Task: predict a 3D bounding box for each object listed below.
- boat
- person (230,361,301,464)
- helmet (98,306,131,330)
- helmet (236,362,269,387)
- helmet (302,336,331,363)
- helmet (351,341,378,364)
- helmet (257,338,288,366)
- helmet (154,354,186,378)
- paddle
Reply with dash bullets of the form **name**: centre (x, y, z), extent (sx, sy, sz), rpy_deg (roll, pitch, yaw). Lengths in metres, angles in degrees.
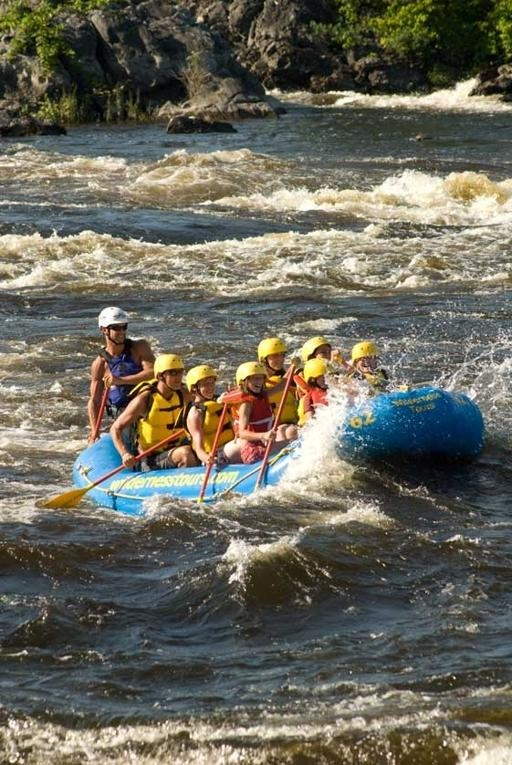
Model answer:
- **boat**: centre (0.278, 0.575, 11.054), extent (2.431, 0.419, 1.364), rpy_deg (-10, -1, -1)
- **person**: centre (0.119, 0.251, 11.239), extent (0.522, 0.818, 0.639), rpy_deg (-19, 19, -33)
- **helmet**: centre (-1.261, -0.569, 12.043), extent (0.276, 0.189, 0.213), rpy_deg (9, 13, 34)
- **helmet**: centre (-0.047, -0.095, 11.326), extent (0.183, 0.170, 0.225), rpy_deg (-10, -33, -30)
- **helmet**: centre (0.485, -0.283, 11.855), extent (0.190, 0.212, 0.242), rpy_deg (-15, -8, -42)
- **helmet**: centre (0.916, -0.270, 11.905), extent (0.178, 0.169, 0.229), rpy_deg (-8, -23, -10)
- **helmet**: centre (0.135, -0.266, 11.876), extent (0.256, 0.222, 0.199), rpy_deg (-7, 2, 44)
- **helmet**: centre (-0.729, -0.130, 11.272), extent (0.267, 0.197, 0.196), rpy_deg (-1, 10, 12)
- **paddle**: centre (-1.126, 0.739, 11.423), extent (1.143, 0.155, 0.058), rpy_deg (-30, 40, -22)
